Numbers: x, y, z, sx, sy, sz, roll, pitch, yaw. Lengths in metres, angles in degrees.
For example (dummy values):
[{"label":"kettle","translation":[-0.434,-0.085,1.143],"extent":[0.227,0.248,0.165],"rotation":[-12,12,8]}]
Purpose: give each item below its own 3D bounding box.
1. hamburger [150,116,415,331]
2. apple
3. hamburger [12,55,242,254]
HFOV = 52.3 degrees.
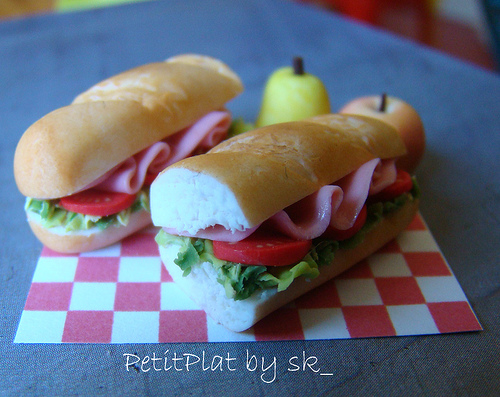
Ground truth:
[{"label":"hamburger","translation":[0.203,-0.024,2.868],"extent":[1.376,0.831,0.876],"rotation":[-32,31,-29]},{"label":"apple","translation":[1.009,-0.474,3.456],"extent":[0.245,0.252,0.256],"rotation":[-21,100,-21]},{"label":"hamburger","translation":[-0.715,-0.214,3.317],"extent":[0.912,0.680,1.397],"rotation":[29,51,29]}]
